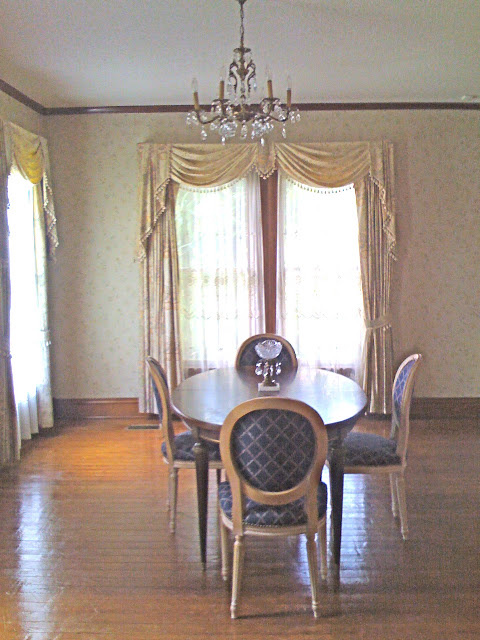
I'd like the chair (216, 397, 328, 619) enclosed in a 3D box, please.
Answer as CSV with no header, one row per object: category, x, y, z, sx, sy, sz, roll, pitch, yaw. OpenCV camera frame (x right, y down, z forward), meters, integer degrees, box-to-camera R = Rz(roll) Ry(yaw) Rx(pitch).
chair,0.124,0.724,2.800,0.473,0.934,0.380,1,9,7

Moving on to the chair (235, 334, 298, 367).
chair,0.163,0.194,4.272,0.383,0.188,0.184,-1,9,-4
